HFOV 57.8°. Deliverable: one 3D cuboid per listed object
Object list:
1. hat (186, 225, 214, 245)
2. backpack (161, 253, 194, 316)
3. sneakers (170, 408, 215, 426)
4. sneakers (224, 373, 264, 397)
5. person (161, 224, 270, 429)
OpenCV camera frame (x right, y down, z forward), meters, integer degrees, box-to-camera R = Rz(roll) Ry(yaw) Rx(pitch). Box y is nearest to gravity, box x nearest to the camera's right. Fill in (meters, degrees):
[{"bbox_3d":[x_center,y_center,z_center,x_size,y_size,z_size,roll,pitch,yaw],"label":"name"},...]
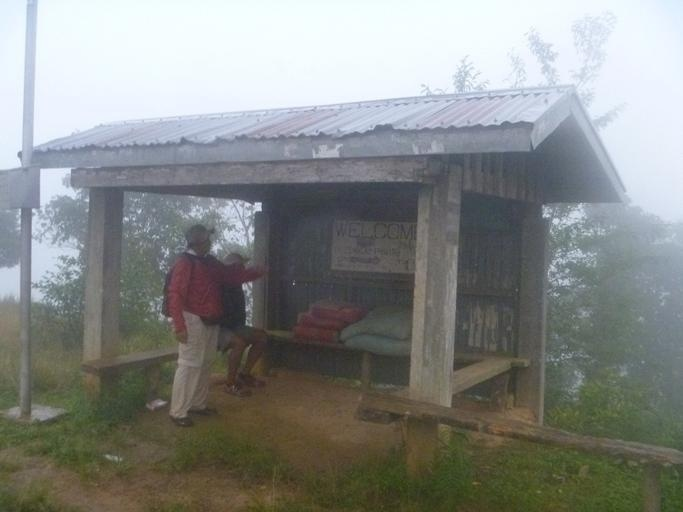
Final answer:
[{"bbox_3d":[-1.902,-0.299,8.284,0.384,0.207,0.308,-19,0,-8],"label":"hat"},{"bbox_3d":[-2.175,0.389,8.096,0.326,0.907,0.636,0,8,-25],"label":"backpack"},{"bbox_3d":[-1.955,2.139,8.259,0.549,0.250,0.188,-8,11,-39],"label":"sneakers"},{"bbox_3d":[-1.486,1.976,9.525,0.619,0.312,0.240,-1,4,-15],"label":"sneakers"},{"bbox_3d":[-1.952,0.892,8.203,0.495,2.590,0.899,8,8,30],"label":"person"}]
